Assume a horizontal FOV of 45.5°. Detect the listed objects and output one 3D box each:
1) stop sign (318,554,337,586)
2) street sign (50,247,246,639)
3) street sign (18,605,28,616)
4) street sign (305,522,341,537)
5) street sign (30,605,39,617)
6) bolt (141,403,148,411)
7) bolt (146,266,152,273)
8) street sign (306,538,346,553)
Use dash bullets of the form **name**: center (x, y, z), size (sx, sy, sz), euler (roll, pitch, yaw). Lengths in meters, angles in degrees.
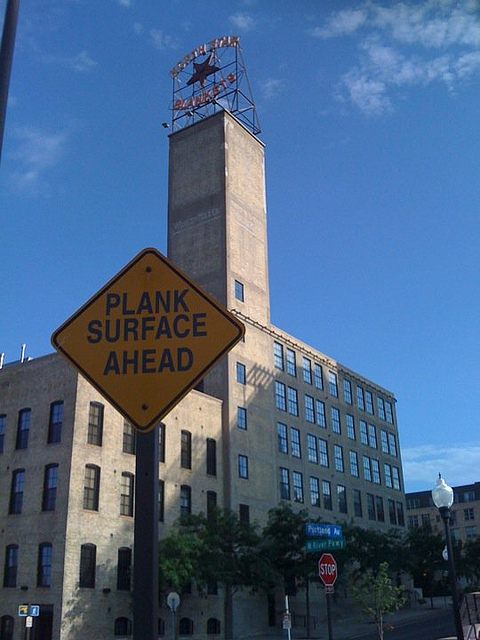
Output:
- **stop sign**: center (3.825, 10.876, 24.891), size (0.693, 1.226, 1.224), euler (-6, -24, 5)
- **street sign**: center (-0.523, 0.561, 3.267), size (1.121, 2.218, 0.745), euler (-15, -25, 26)
- **street sign**: center (-10.827, 14.579, 28.625), size (0.402, 0.394, 0.956), euler (4, -27, -18)
- **street sign**: center (4.201, 10.654, 29.007), size (1.647, 0.649, 0.839), euler (-3, -24, -4)
- **street sign**: center (-10.360, 14.674, 28.780), size (0.429, 0.424, 1.325), euler (5, -27, -20)
- **bolt**: center (-0.545, 0.501, 3.273), size (0.028, 0.032, 0.007), euler (1, -11, 8)
- **bolt**: center (-0.590, -0.319, 3.654), size (0.030, 0.037, 0.019), euler (-2, -23, 1)
- **street sign**: center (4.225, 11.132, 28.327), size (0.509, 0.514, 2.287), euler (14, -31, -35)
